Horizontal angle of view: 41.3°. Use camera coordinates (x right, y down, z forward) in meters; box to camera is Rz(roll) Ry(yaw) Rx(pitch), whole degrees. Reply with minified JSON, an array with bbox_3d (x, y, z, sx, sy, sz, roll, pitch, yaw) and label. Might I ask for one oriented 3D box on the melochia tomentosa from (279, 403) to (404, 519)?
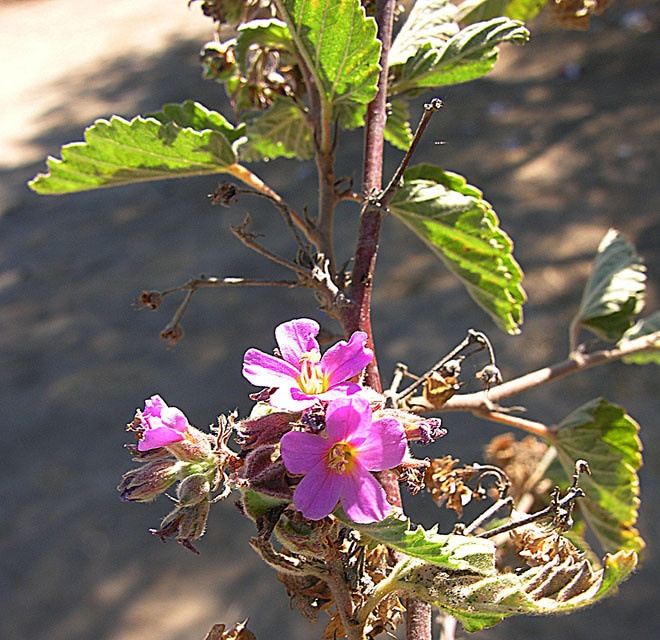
[{"bbox_3d":[0.001,0.205,1.314,0.231,0.162,0.074,-9,24,-24],"label":"melochia tomentosa"}]
